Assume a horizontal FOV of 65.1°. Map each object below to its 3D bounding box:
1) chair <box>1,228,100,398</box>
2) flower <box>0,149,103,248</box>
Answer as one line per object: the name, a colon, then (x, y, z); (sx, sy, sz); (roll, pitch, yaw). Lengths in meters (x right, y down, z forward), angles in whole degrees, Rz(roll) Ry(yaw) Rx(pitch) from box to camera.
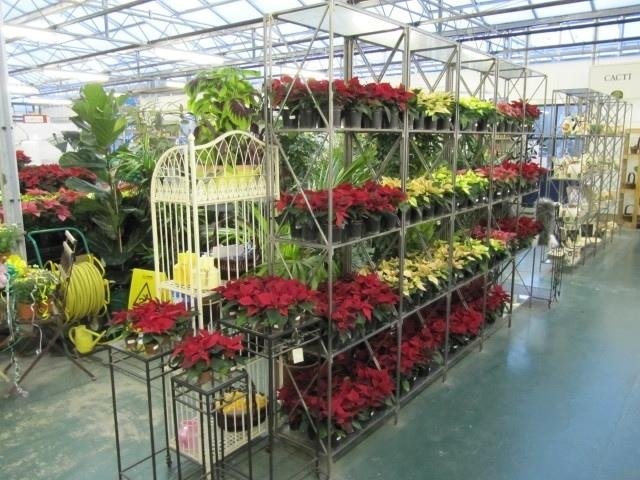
chair: (-2.745, 0.602, 5.099); (1.022, 1.447, 1.219); (-4, 12, -19)
flower: (-3.380, -0.586, 6.257); (1.281, 1.165, 0.619); (1, -13, -44)
